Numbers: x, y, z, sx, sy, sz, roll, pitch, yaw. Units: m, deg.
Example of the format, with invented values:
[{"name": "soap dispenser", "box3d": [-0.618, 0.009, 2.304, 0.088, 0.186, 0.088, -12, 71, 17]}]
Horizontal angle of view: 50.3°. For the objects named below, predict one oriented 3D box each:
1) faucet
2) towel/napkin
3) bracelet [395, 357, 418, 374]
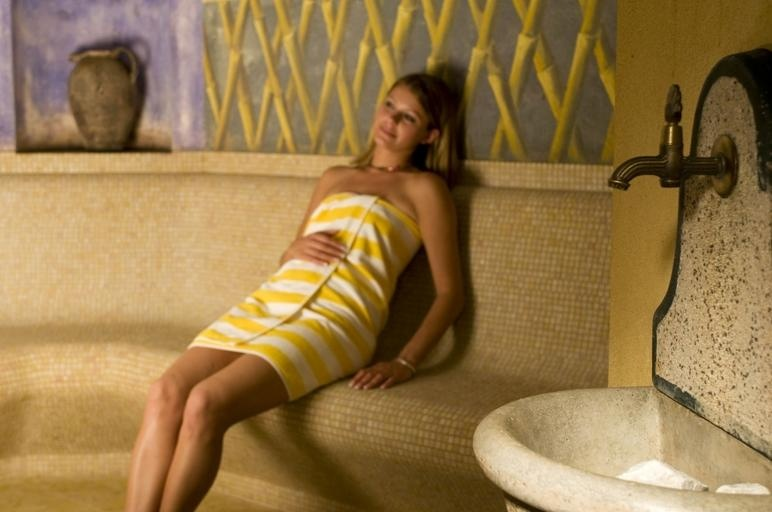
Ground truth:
[{"name": "faucet", "box3d": [0.644, -0.254, 1.858, 0.252, 0.245, 0.135, 0, 10, 4]}, {"name": "towel/napkin", "box3d": [-0.235, 0.112, 2.590, 0.438, 0.506, 0.730, 6, 18, 36]}, {"name": "bracelet", "box3d": [0.055, 0.327, 2.470, 0.058, 0.041, 0.030, 6, 11, 15]}]
